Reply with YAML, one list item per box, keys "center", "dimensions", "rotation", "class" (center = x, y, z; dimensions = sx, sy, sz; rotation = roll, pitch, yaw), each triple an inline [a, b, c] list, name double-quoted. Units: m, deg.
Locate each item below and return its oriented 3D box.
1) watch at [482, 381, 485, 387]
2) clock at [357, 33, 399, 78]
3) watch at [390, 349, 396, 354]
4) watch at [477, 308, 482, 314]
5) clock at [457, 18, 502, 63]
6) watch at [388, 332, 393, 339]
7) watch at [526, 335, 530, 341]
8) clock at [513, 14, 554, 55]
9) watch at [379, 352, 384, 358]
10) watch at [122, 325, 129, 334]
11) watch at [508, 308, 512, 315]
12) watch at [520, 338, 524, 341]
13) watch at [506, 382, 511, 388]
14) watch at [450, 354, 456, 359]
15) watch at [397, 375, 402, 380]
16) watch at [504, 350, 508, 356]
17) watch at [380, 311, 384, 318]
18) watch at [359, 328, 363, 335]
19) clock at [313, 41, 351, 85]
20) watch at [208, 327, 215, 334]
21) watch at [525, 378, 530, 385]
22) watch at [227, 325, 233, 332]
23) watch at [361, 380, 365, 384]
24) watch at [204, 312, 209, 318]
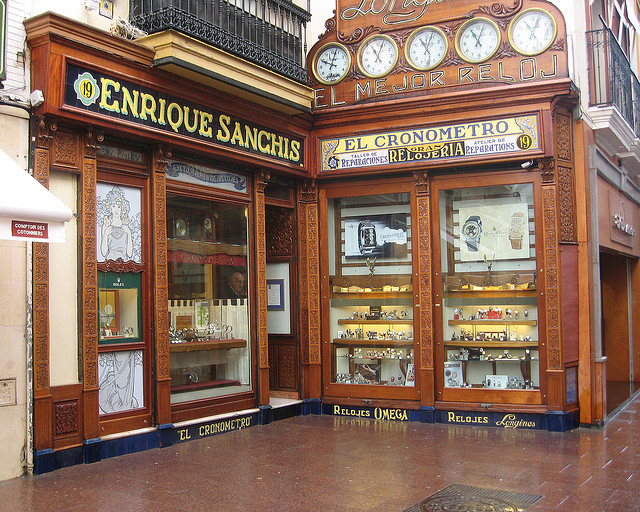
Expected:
- center: [2.575, 2.023, 10.229]
  dimensions: [0.030, 0.085, 0.031]
  rotation: [0, 0, 23]
  class: "watch"
- center: [0.973, -3.333, 10.841]
  dimensions: [0.665, 0.800, 0.098]
  rotation: [-8, 43, 0]
  class: "clock"
- center: [1.213, 1.588, 10.754]
  dimensions: [0.069, 0.062, 0.076]
  rotation: [1, 3, 10]
  class: "watch"
- center: [2.542, 0.880, 10.341]
  dimensions: [0.058, 0.069, 0.034]
  rotation: [-3, 2, 0]
  class: "watch"
- center: [2.549, -3.404, 10.262]
  dimensions: [0.647, 0.846, 0.082]
  rotation: [0, -6, 23]
  class: "clock"
- center: [1.175, 1.318, 10.791]
  dimensions: [0.051, 0.065, 0.054]
  rotation: [1, 1, 35]
  class: "watch"
- center: [3.221, 1.270, 10.037]
  dimensions: [0.061, 0.079, 0.066]
  rotation: [1, 4, 22]
  class: "watch"
- center: [3.282, -3.445, 10.134]
  dimensions: [0.514, 0.618, 0.566]
  rotation: [-5, 7, -8]
  class: "clock"
- center: [1.028, 1.647, 10.852]
  dimensions: [0.091, 0.100, 0.059]
  rotation: [1, 6, 44]
  class: "watch"
- center: [-2.590, 0.983, 8.600]
  dimensions: [0.014, 0.101, 0.090]
  rotation: [0, 0, 40]
  class: "watch"
- center: [2.978, 0.869, 10.165]
  dimensions: [0.057, 0.098, 0.007]
  rotation: [0, 0, 18]
  class: "watch"
- center: [3.144, 1.302, 10.065]
  dimensions: [0.038, 0.043, 0.021]
  rotation: [0, 2, 30]
  class: "watch"
- center: [2.934, 2.001, 10.097]
  dimensions: [0.066, 0.058, 0.019]
  rotation: [0, 0, 18]
  class: "watch"
- center: [2.125, 1.618, 10.413]
  dimensions: [0.079, 0.069, 0.016]
  rotation: [0, 0, 14]
  class: "watch"
- center: [1.309, 2.001, 10.690]
  dimensions: [0.051, 0.107, 0.055]
  rotation: [1, 3, 18]
  class: "watch"
- center: [2.920, 1.516, 10.179]
  dimensions: [0.014, 0.063, 0.058]
  rotation: [4, -13, -41]
  class: "watch"
- center: [1.037, 0.975, 10.871]
  dimensions: [0.047, 0.091, 0.054]
  rotation: [-1, -2, 34]
  class: "watch"
- center: [0.693, 1.275, 10.991]
  dimensions: [0.066, 0.106, 0.034]
  rotation: [-1, -4, 13]
  class: "watch"
- center: [0.223, -3.280, 11.092]
  dimensions: [0.657, 0.840, 0.061]
  rotation: [2, -2, 24]
  class: "clock"
- center: [-1.662, 1.134, 9.825]
  dimensions: [0.023, 0.104, 0.091]
  rotation: [-5, -5, 43]
  class: "watch"
- center: [3.197, 1.947, 10.010]
  dimensions: [0.059, 0.126, 0.063]
  rotation: [1, 4, 26]
  class: "watch"
- center: [-1.410, 1.129, 10.088]
  dimensions: [0.016, 0.109, 0.095]
  rotation: [0, 0, 39]
  class: "watch"
- center: [0.715, 2.119, 10.900]
  dimensions: [0.039, 0.046, 0.023]
  rotation: [0, -7, 6]
  class: "watch"
- center: [-1.718, 0.888, 9.746]
  dimensions: [0.058, 0.067, 0.013]
  rotation: [1, 1, -41]
  class: "watch"
